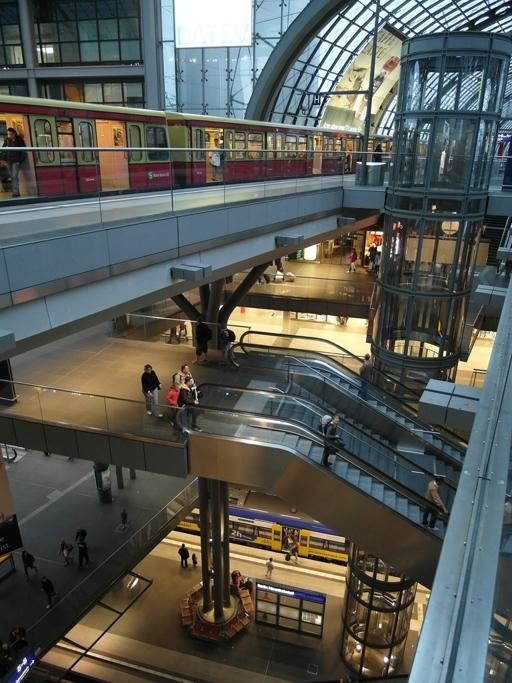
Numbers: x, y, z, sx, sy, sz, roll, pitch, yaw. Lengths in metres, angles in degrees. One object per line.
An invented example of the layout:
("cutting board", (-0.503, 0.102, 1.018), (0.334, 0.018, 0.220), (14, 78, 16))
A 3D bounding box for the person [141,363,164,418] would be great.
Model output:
("person", (-2.096, 0.946, 10.424), (0.330, 1.039, 1.378), (-4, 21, -12))

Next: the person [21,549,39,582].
("person", (-6.226, 6.010, 14.261), (0.334, 0.887, 0.470), (-12, 24, -29))

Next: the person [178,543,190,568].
("person", (-2.643, 7.765, 19.061), (0.323, 1.086, 0.477), (-5, 21, -13))

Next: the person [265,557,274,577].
("person", (0.490, 8.459, 19.558), (0.248, 0.773, 0.290), (-9, 59, -9))

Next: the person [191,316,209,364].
("person", (-1.310, 0.018, 12.868), (0.391, 1.213, 0.692), (-2, 21, -6))

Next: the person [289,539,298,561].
("person", (1.477, 8.131, 20.420), (0.376, 0.781, 0.480), (2, 21, 4))

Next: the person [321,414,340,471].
("person", (1.372, 1.822, 9.582), (0.288, 0.681, 0.760), (4, 21, 9))

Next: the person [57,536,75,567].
("person", (-5.349, 5.753, 14.605), (0.352, 0.932, 0.723), (-8, 22, -22))

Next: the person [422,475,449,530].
("person", (3.010, 2.727, 8.768), (0.352, 0.766, 0.561), (6, 21, 15))

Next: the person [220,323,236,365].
("person", (-0.678, 0.084, 12.601), (0.292, 0.805, 0.554), (-18, 27, -39))
